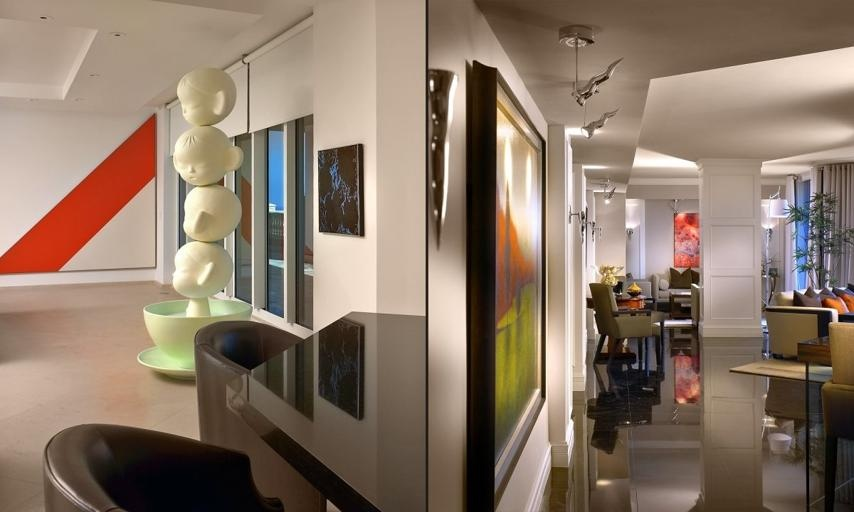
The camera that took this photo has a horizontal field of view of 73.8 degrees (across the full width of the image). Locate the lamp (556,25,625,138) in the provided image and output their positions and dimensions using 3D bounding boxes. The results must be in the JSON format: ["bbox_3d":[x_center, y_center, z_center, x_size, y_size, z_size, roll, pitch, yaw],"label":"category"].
[{"bbox_3d":[1.322,-1.399,4.516,0.306,0.843,0.558,-15,15,-40],"label":"lamp"}]

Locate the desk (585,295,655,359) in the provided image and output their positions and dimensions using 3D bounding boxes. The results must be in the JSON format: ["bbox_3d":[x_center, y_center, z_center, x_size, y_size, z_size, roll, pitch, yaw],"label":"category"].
[{"bbox_3d":[3.064,1.023,8.738,0.970,1.111,0.843,1,-3,0],"label":"desk"}]

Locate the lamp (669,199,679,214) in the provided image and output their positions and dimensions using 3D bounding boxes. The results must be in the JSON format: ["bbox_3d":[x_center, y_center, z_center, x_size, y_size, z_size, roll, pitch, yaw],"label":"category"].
[{"bbox_3d":[6.533,-1.338,15.201,0.310,0.365,0.310,2,6,19],"label":"lamp"}]

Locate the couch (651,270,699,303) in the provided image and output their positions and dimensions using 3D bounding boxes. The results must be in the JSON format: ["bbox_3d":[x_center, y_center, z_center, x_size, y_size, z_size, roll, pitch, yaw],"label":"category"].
[{"bbox_3d":[6.572,0.679,14.141,1.634,0.727,0.851,0,10,30],"label":"couch"}]

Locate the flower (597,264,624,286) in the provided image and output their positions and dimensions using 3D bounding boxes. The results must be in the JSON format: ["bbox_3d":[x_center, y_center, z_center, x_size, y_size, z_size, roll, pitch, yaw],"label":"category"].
[{"bbox_3d":[3.563,0.366,11.022,0.475,0.378,0.467,2,-6,-18],"label":"flower"}]

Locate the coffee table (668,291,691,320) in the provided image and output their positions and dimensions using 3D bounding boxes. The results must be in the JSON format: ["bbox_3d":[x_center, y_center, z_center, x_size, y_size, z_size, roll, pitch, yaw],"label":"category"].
[{"bbox_3d":[5.794,1.090,13.008,0.429,0.481,0.744,0,11,22],"label":"coffee table"}]

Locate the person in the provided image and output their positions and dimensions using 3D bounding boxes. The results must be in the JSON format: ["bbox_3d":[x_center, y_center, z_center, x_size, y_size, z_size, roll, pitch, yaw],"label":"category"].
[{"bbox_3d":[-2.386,-0.784,6.116,0.889,2.457,0.503,-8,11,-18],"label":"person"}]

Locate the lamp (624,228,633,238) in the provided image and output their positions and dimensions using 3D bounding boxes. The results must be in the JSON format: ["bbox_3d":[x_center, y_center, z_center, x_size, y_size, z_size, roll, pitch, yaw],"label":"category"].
[{"bbox_3d":[5.462,-0.641,15.314,0.243,0.307,0.243,6,16,22],"label":"lamp"}]

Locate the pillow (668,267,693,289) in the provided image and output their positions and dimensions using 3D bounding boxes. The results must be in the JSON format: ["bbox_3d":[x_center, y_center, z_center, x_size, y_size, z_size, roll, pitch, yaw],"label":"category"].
[{"bbox_3d":[6.402,0.563,14.353,0.502,0.461,0.189,1,-11,2],"label":"pillow"}]
